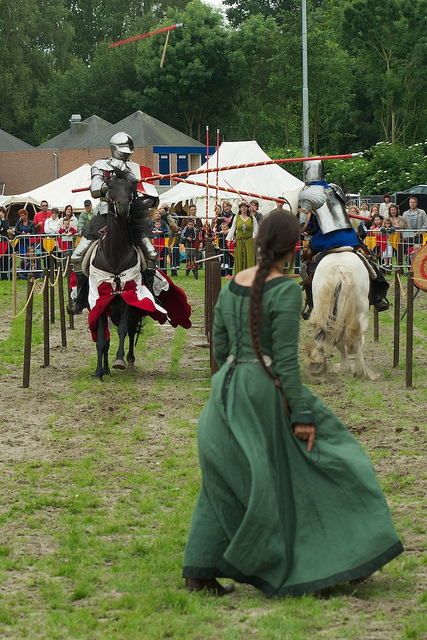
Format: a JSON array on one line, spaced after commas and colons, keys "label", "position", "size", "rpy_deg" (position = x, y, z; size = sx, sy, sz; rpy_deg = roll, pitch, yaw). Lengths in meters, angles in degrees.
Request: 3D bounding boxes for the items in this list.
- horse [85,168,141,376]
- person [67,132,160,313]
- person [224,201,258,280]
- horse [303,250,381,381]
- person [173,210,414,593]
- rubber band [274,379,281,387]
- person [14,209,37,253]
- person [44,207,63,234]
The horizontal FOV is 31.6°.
[{"label": "horse", "position": [-1.212, -0.532, 9.306], "size": [0.655, 2.477, 1.207], "rpy_deg": [-2, 6, -6]}, {"label": "person", "position": [-1.275, -1.282, 9.877], "size": [1.371, 2.300, 1.176], "rpy_deg": [-2, 4, -10]}, {"label": "person", "position": [0.662, -1.640, 16.101], "size": [0.765, 1.655, 0.465], "rpy_deg": [4, 12, 15]}, {"label": "horse", "position": [1.803, -0.142, 9.615], "size": [0.833, 1.715, 2.813], "rpy_deg": [0, 3, 20]}, {"label": "person", "position": [0.294, 0.409, 3.465], "size": [0.974, 1.796, 0.481], "rpy_deg": [-2, 6, -8]}, {"label": "rubber band", "position": [0.291, 0.286, 3.401], "size": [0.028, 0.026, 0.009], "rpy_deg": [0, 0, 23]}, {"label": "person", "position": [-4.604, -2.201, 18.689], "size": [0.491, 1.074, 0.640], "rpy_deg": [-4, 6, -24]}, {"label": "person", "position": [-3.916, -2.416, 18.532], "size": [0.453, 0.636, 0.709], "rpy_deg": [-3, 6, -11]}]
